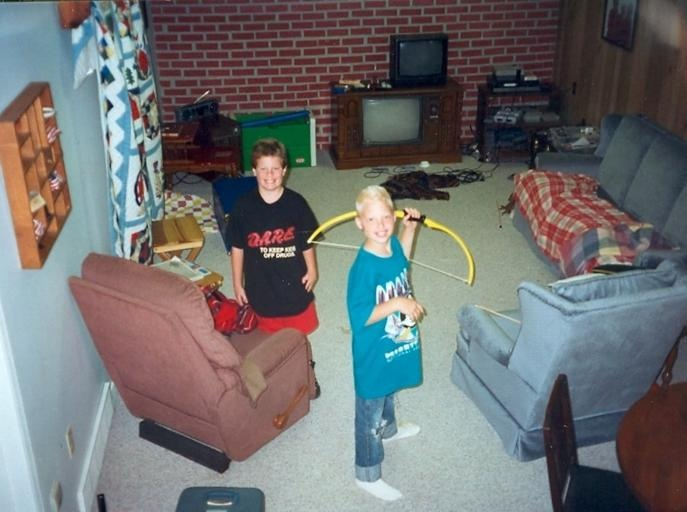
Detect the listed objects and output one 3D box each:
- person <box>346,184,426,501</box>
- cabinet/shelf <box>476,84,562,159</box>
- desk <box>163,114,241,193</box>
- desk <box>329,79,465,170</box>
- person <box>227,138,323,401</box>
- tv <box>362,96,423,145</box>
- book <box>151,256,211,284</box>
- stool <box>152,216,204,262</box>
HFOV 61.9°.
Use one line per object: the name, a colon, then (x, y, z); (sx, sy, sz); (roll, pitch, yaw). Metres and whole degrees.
person: (0.210, 0.478, 2.862); (0.361, 1.568, 0.527); (2, 30, 8)
cabinet/shelf: (2.040, -1.551, 6.657); (1.040, 1.014, 0.625); (1, 37, 5)
desk: (-1.516, -1.112, 6.176); (0.759, 0.501, 0.778); (-2, 40, -7)
desk: (0.625, -1.786, 6.962); (1.784, 1.134, 0.988); (-4, 40, -2)
person: (-0.419, 0.079, 3.427); (0.540, 1.493, 0.369); (-2, 23, 4)
tv: (0.553, -1.645, 6.750); (0.782, 0.608, 0.463); (-4, 38, 2)
book: (-1.145, 0.096, 4.068); (0.281, 0.072, 0.275); (24, 22, 25)
stool: (-1.364, -0.192, 4.670); (0.360, 0.434, 0.406); (-10, 46, -18)
